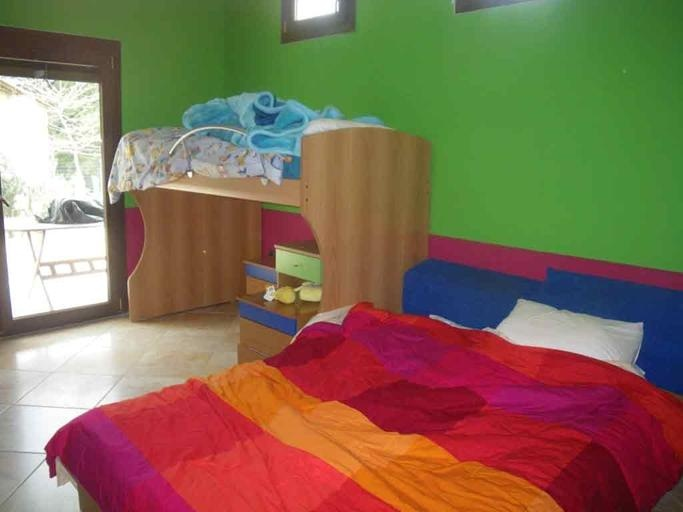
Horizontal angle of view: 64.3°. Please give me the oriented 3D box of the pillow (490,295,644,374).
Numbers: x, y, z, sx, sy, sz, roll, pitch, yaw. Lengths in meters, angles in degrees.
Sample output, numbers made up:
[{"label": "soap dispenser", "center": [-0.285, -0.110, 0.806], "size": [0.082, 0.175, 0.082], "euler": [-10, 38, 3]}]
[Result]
[{"label": "pillow", "center": [1.070, 0.356, 2.568], "size": [0.405, 0.126, 0.410], "euler": [8, 16, 29]}]

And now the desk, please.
[{"label": "desk", "center": [-2.340, -0.196, 4.472], "size": [0.412, 0.379, 0.760], "euler": [9, 7, 41]}]

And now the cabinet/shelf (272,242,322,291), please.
[{"label": "cabinet/shelf", "center": [-0.215, 0.082, 3.986], "size": [0.500, 0.318, 0.306], "euler": [6, 15, 38]}]

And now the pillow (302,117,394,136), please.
[{"label": "pillow", "center": [-0.028, -0.769, 3.203], "size": [0.293, 0.082, 0.229], "euler": [-1, 12, -16]}]

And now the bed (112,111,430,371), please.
[{"label": "bed", "center": [-0.447, -0.051, 4.029], "size": [1.521, 1.947, 2.380], "euler": [-13, 19, -41]}]

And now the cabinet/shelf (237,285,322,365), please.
[{"label": "cabinet/shelf", "center": [-0.417, 0.584, 3.679], "size": [0.550, 0.545, 0.367], "euler": [11, 1, 41]}]
